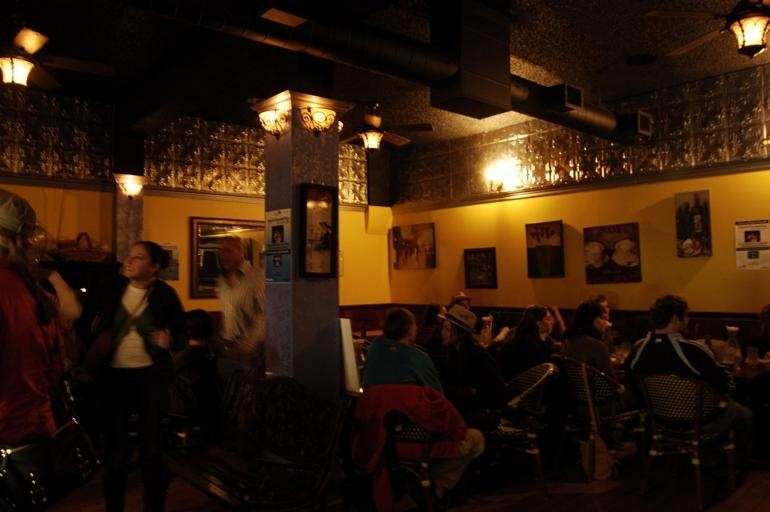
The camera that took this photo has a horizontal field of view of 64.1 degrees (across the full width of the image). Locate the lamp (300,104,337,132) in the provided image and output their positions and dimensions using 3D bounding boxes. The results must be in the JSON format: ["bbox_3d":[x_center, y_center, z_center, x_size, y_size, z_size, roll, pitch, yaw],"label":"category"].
[{"bbox_3d":[-0.657,-1.357,6.063,0.296,0.179,0.258,0,1,-9],"label":"lamp"}]

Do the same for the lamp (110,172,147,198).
[{"bbox_3d":[-3.982,-1.103,9.585,0.517,0.449,0.320,-3,10,-39],"label":"lamp"}]

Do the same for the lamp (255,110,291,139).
[{"bbox_3d":[-1.106,-1.308,6.132,0.291,0.241,0.321,0,-7,7],"label":"lamp"}]

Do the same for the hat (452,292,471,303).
[{"bbox_3d":[1.213,0.659,9.758,0.234,0.086,0.257,0,-15,-21],"label":"hat"}]

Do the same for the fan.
[{"bbox_3d":[0.055,-1.728,8.631,1.177,0.561,1.080,1,6,41],"label":"fan"}]

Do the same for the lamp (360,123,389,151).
[{"bbox_3d":[-0.183,-1.593,8.349,0.298,0.215,0.291,1,-2,-16],"label":"lamp"}]
